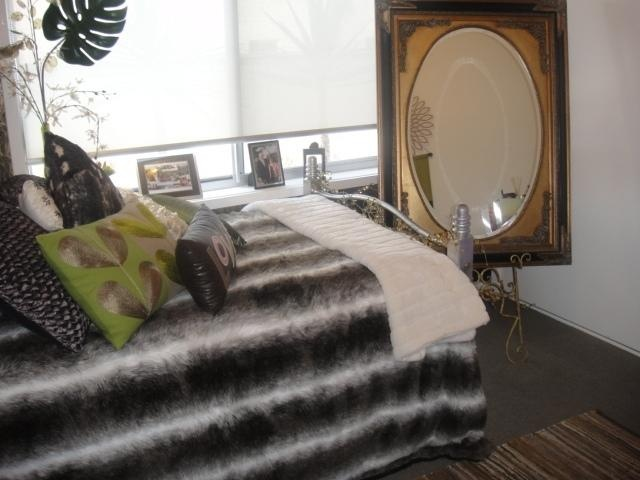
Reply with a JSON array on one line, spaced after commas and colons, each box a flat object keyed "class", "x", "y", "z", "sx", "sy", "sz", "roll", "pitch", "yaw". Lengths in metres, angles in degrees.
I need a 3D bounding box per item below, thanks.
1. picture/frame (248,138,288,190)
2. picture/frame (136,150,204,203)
[{"class": "picture/frame", "x": -0.405, "y": -0.569, "z": 3.598, "sx": 0.295, "sy": 0.379, "sz": 0.023, "roll": -20, "pitch": 13, "yaw": -34}, {"class": "picture/frame", "x": -0.995, "y": -0.414, "z": 3.151, "sx": 0.358, "sy": 0.292, "sz": 0.027, "roll": -8, "pitch": -1, "yaw": -25}]
